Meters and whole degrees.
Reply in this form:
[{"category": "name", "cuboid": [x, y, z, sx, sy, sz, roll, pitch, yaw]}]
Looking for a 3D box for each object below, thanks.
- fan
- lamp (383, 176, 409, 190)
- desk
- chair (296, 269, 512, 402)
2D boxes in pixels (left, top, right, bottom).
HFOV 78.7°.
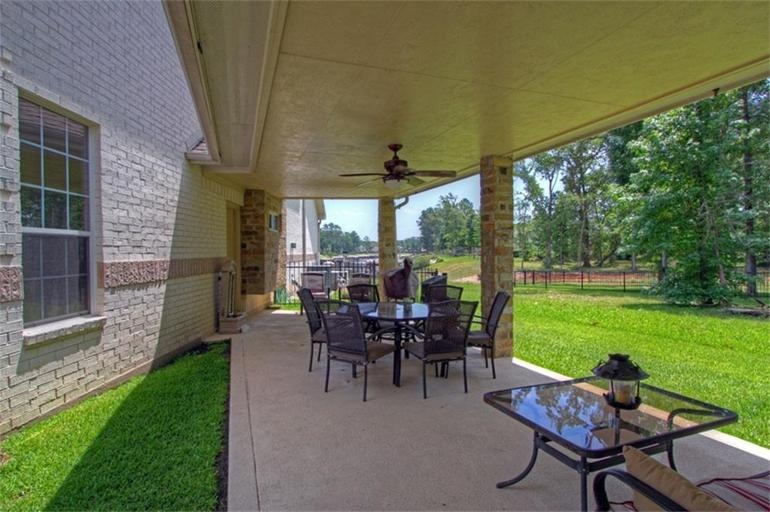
[{"category": "fan", "cuboid": [0.218, -1.246, 7.019, 1.049, 0.376, 1.055, -2, -1, 42]}, {"category": "lamp", "cuboid": [0.165, -1.094, 7.040, 0.324, 0.123, 0.393, -1, -1, 17]}, {"category": "desk", "cuboid": [2.039, 1.531, 4.406, 1.638, 0.782, 1.216, 1, -4, -25]}, {"category": "chair", "cuboid": [0.708, 1.148, 6.453, 2.046, 1.261, 1.252, -1, 0, -5]}]
